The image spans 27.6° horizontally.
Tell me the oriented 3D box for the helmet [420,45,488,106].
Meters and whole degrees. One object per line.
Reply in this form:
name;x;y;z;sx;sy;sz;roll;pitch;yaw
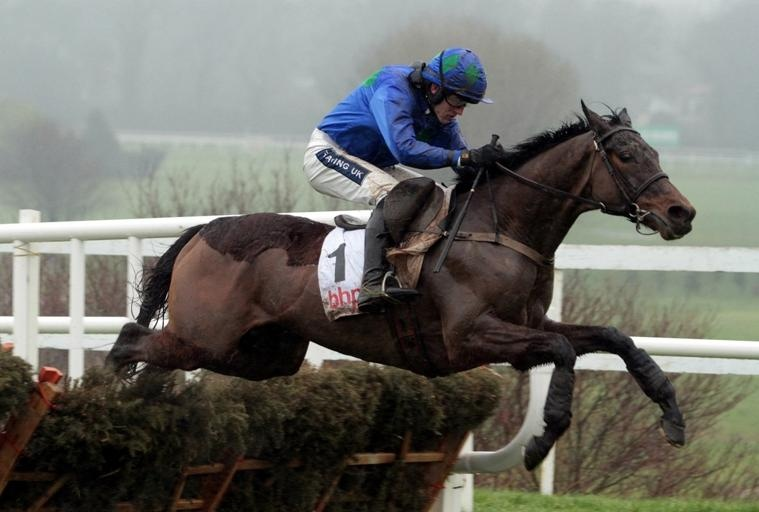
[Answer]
helmet;0.510;-1.210;10.227;0.578;0.302;0.378;17;20;9

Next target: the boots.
boots;0.002;0.006;9.894;0.298;0.651;0.373;-2;8;-29

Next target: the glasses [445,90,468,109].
glasses;0.495;-1.021;10.163;0.114;0.061;0.094;43;16;19

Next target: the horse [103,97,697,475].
horse;-0.014;0.336;10.472;4.481;2.281;0.978;-2;-5;31
